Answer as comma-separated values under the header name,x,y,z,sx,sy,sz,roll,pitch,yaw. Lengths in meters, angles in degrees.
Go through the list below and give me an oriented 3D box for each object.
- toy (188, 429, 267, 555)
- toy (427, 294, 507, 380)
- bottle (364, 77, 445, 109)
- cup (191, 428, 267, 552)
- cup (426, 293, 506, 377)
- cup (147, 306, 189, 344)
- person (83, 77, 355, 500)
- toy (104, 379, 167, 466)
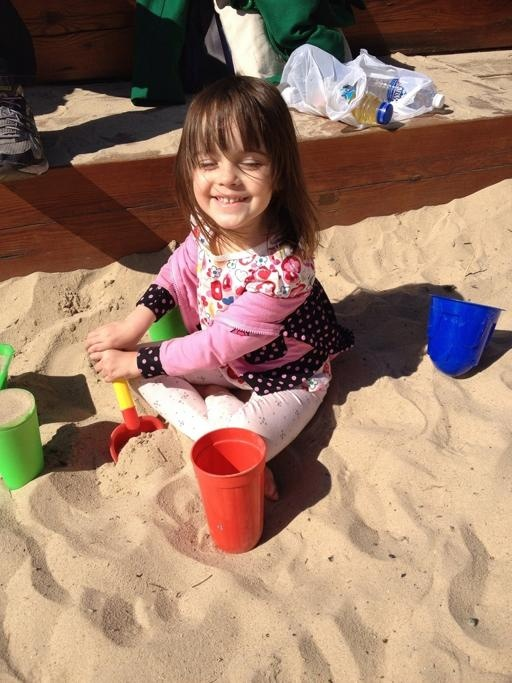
name,x,y,z,sx,sy,sz,roll,pitch,yaw
toy,-0.055,0.360,1.457,0.180,0.244,0.175,17,33,35
toy,0.641,-0.005,1.932,0.247,0.226,0.245,11,2,19
bottle,0.634,-1.139,2.728,0.272,0.085,0.191,1,8,19
cup,-0.053,0.356,1.480,0.164,0.320,0.180,-3,39,3
cup,0.645,-0.002,1.940,0.253,0.229,0.242,8,3,0
cup,-0.288,-0.049,2.050,0.116,0.112,0.120,0,38,0
person,-0.117,-0.172,1.688,0.612,0.988,0.633,16,43,25
toy,-0.351,0.246,1.773,0.224,0.208,0.134,33,39,25
